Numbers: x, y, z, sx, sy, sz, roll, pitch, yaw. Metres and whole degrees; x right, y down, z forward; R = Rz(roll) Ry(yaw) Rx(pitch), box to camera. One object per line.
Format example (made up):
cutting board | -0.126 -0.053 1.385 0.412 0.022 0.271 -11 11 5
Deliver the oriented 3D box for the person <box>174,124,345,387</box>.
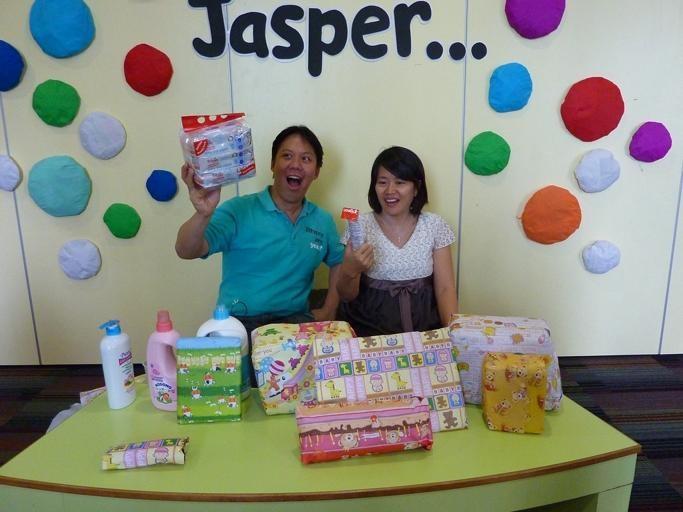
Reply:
person | -0.436 -0.129 2.812 0.959 1.065 0.477 -7 7 -43

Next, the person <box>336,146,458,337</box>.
person | 0.286 -0.086 2.878 0.616 0.969 0.245 -2 5 -1
